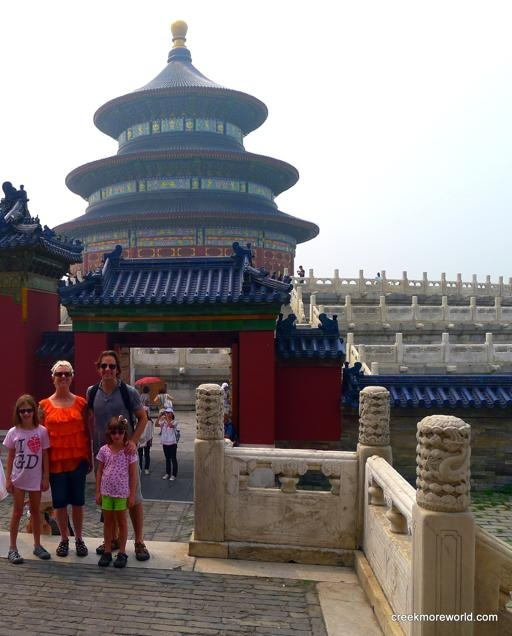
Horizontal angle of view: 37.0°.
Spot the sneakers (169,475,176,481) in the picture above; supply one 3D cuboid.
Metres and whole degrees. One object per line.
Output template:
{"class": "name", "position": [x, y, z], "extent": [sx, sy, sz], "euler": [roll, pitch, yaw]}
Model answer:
{"class": "sneakers", "position": [-1.165, 2.247, 10.778], "extent": [0.060, 0.052, 0.127], "euler": [1, -8, 0]}

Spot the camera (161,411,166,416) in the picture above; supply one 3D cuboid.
{"class": "camera", "position": [-1.267, 1.301, 10.622], "extent": [0.077, 0.030, 0.085], "euler": [0, 4, -4]}

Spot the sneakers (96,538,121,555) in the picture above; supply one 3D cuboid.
{"class": "sneakers", "position": [-1.331, 2.060, 6.890], "extent": [0.086, 0.092, 0.248], "euler": [-2, -2, 13]}

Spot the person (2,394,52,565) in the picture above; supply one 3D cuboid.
{"class": "person", "position": [-2.000, 1.396, 6.732], "extent": [0.365, 1.445, 0.424], "euler": [-2, 6, -17]}

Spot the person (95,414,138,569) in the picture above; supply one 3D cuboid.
{"class": "person", "position": [-1.195, 1.491, 6.666], "extent": [0.363, 1.326, 0.436], "euler": [-1, 6, -12]}

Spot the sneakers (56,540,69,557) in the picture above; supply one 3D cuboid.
{"class": "sneakers", "position": [-1.708, 2.049, 6.798], "extent": [0.109, 0.103, 0.203], "euler": [-1, 6, -14]}

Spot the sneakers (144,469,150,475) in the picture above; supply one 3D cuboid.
{"class": "sneakers", "position": [-1.588, 2.253, 11.229], "extent": [0.059, 0.061, 0.149], "euler": [1, -9, -10]}

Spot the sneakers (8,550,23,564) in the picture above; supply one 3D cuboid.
{"class": "sneakers", "position": [-2.077, 2.080, 6.624], "extent": [0.066, 0.069, 0.172], "euler": [-2, -3, -21]}

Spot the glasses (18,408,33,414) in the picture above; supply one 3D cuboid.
{"class": "glasses", "position": [-1.989, 0.796, 6.638], "extent": [0.120, 0.064, 0.027], "euler": [-1, 6, -13]}
